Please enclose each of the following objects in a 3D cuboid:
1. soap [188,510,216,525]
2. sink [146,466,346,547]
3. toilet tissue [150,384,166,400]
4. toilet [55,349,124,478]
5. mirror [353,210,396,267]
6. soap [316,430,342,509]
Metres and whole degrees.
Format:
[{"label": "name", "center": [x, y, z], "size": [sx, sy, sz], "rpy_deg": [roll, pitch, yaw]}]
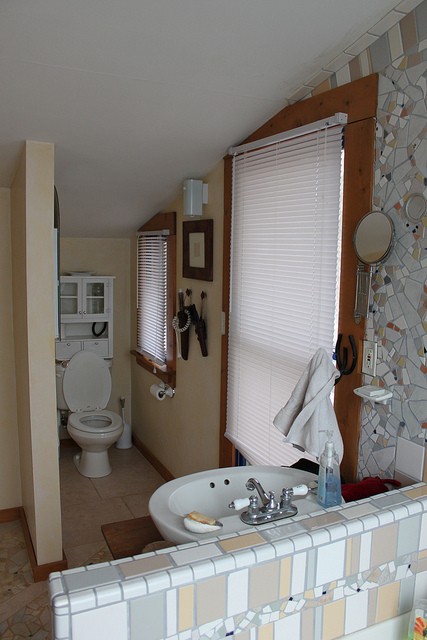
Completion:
[{"label": "soap", "center": [-0.020, 0.456, 1.137], "size": [0.031, 0.010, 0.031], "rpy_deg": [27, -1, -19]}, {"label": "sink", "center": [0.078, 0.481, 1.320], "size": [0.490, 0.171, 0.447], "rpy_deg": [-5, -7, -9]}, {"label": "toilet tissue", "center": [-0.387, 0.501, 3.454], "size": [0.101, 0.106, 0.118], "rpy_deg": [-5, -7, -7]}, {"label": "toilet", "center": [-0.931, 0.673, 3.728], "size": [0.489, 0.974, 0.563], "rpy_deg": [-3, 12, -24]}, {"label": "mirror", "center": [0.473, -0.238, 1.452], "size": [0.028, 0.224, 0.175], "rpy_deg": [2, 1, -23]}, {"label": "soap", "center": [0.291, 0.381, 1.259], "size": [0.065, 0.187, 0.066], "rpy_deg": [2, 2, 14]}]
